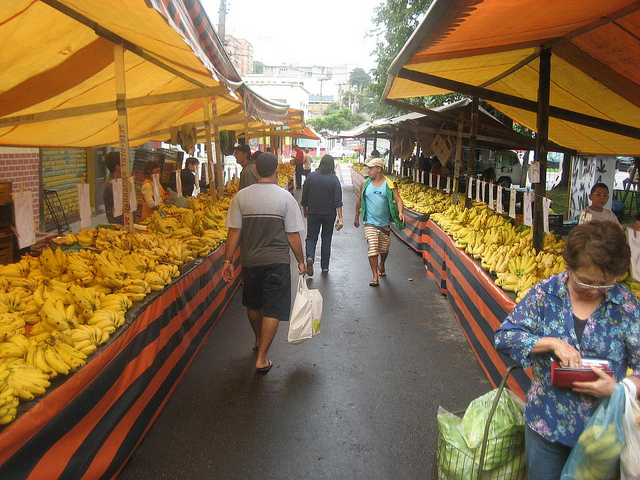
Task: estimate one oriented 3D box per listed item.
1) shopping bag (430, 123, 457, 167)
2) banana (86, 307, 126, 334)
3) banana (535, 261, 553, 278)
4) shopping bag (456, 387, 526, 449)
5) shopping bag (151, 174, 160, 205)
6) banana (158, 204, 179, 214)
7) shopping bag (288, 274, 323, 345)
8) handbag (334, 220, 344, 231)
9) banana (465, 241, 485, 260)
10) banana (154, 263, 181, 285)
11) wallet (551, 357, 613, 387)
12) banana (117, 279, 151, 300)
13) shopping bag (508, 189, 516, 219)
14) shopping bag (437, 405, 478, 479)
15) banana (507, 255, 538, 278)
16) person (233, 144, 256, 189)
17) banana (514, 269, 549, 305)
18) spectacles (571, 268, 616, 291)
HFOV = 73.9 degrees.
[{"bbox_3d":[3.453,-2.462,11.375,0.186,0.866,0.835,2,-35,-25],"label":"shopping bag"},{"bbox_3d":[-1.681,0.628,3.355,0.188,0.061,0.166,39,28,25],"label":"banana"},{"bbox_3d":[2.423,0.321,4.612,0.146,0.092,0.257,11,7,19],"label":"banana"},{"bbox_3d":[0.976,1.161,2.648,0.111,0.373,0.380,14,-18,-7],"label":"shopping bag"},{"bbox_3d":[-2.775,-0.855,7.214,0.094,0.504,0.293,-3,11,-22],"label":"shopping bag"},{"bbox_3d":[-2.581,-0.548,7.255,0.233,0.123,0.195,13,13,24],"label":"banana"},{"bbox_3d":[-0.180,0.832,4.929,0.268,0.818,0.390,6,11,26],"label":"shopping bag"},{"bbox_3d":[0.387,-0.291,8.333,0.121,0.122,0.214,2,-15,-9],"label":"handbag"},{"bbox_3d":[2.251,0.146,6.205,0.151,0.065,0.302,6,40,24],"label":"banana"},{"bbox_3d":[-1.598,0.362,4.440,0.168,0.098,0.274,2,10,-12],"label":"banana"},{"bbox_3d":[1.317,0.687,2.149,0.222,0.118,0.237,4,12,26],"label":"wallet"},{"bbox_3d":[-1.721,0.456,3.936,0.253,0.141,0.123,-3,-32,32],"label":"banana"},{"bbox_3d":[2.741,-0.519,6.081,0.075,0.466,0.674,5,12,24],"label":"shopping bag"},{"bbox_3d":[0.820,1.272,2.586,0.199,0.333,0.324,2,11,5],"label":"shopping bag"},{"bbox_3d":[2.350,0.305,4.962,0.185,0.103,0.284,9,36,42],"label":"banana"},{"bbox_3d":[-1.545,-1.425,8.877,0.500,1.119,0.841,-2,12,-20],"label":"person"},{"bbox_3d":[1.748,0.386,3.540,0.161,0.121,0.348,-18,25,53],"label":"banana"},{"bbox_3d":[1.469,0.214,2.264,0.239,0.111,0.113,3,11,9],"label":"spectacles"}]
